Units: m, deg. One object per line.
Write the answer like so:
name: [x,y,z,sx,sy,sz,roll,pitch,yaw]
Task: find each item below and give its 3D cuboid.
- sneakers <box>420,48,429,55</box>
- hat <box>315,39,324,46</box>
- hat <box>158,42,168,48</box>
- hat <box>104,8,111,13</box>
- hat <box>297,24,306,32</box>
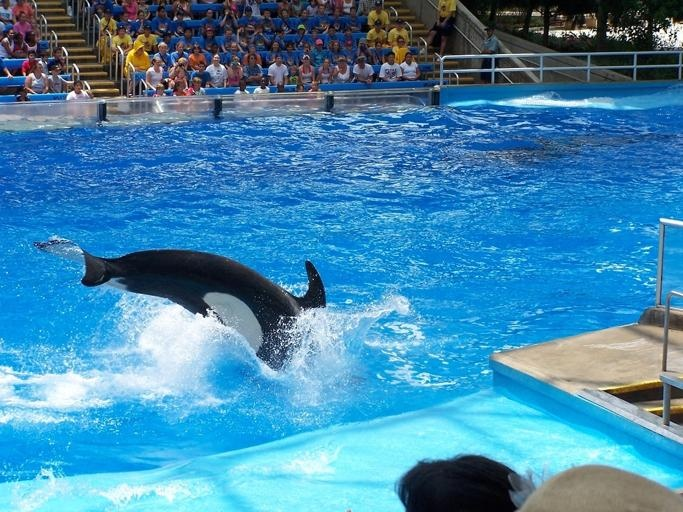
sneakers: [2.009,-4.938,20.860,0.241,0.204,0.600,-1,12,5]
hat: [-0.459,-4.610,18.714,0.182,0.096,0.216,7,10,-10]
hat: [-3.422,-3.981,16.377,0.150,0.119,0.169,26,14,5]
hat: [-4.867,-5.104,18.012,0.224,0.085,0.273,-5,15,-15]
hat: [-0.856,-5.121,19.417,0.264,0.143,0.329,3,11,-9]
